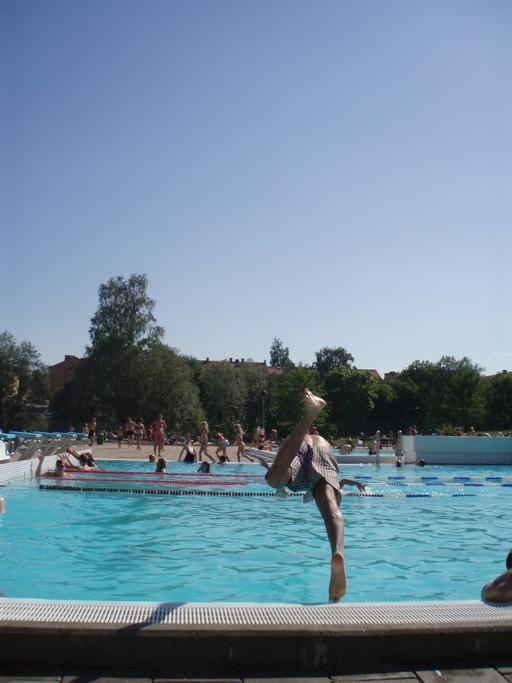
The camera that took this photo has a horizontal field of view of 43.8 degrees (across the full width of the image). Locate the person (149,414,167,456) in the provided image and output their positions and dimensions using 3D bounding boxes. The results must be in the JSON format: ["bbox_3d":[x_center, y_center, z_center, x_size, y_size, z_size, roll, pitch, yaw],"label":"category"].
[{"bbox_3d":[-3.546,3.384,23.021,0.579,1.531,0.485,2,-12,4],"label":"person"}]

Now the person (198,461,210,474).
[{"bbox_3d":[-1.361,3.288,16.610,0.275,0.293,0.799,0,-8,-7],"label":"person"}]

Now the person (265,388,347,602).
[{"bbox_3d":[0.304,0.991,4.186,0.520,1.343,1.177,-2,-8,7],"label":"person"}]

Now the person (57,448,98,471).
[{"bbox_3d":[-4.949,3.303,17.456,0.673,0.785,1.990,2,-4,-29],"label":"person"}]
